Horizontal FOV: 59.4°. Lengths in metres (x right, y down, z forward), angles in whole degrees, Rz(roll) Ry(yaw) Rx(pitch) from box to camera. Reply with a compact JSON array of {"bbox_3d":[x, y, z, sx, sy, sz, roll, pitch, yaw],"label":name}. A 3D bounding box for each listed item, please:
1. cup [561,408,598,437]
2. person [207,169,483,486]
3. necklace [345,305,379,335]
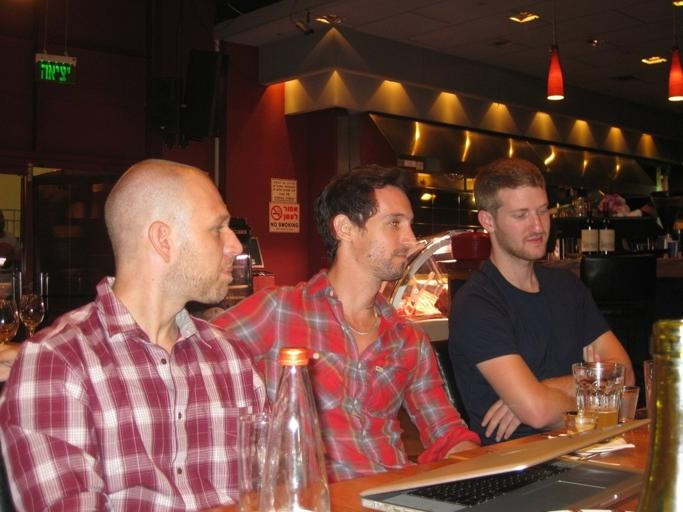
[{"bbox_3d":[0.691,0.478,1.740,0.103,0.067,0.089,-1,0,-8],"label":"cup"},{"bbox_3d":[0.159,0.347,2.662,0.983,1.497,1.129,-12,-17,38],"label":"person"},{"bbox_3d":[0.091,0.229,2.120,0.097,0.091,0.023,6,-15,9],"label":"necklace"}]
